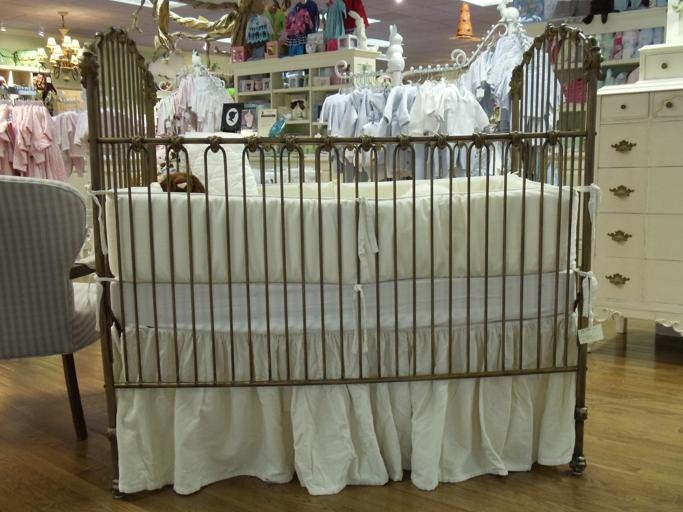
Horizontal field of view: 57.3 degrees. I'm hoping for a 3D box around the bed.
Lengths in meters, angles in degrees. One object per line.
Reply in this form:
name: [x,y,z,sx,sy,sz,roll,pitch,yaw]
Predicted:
bed: [0.031,-0.070,2.685,2.045,1.801,1.011,-3,13,-8]
